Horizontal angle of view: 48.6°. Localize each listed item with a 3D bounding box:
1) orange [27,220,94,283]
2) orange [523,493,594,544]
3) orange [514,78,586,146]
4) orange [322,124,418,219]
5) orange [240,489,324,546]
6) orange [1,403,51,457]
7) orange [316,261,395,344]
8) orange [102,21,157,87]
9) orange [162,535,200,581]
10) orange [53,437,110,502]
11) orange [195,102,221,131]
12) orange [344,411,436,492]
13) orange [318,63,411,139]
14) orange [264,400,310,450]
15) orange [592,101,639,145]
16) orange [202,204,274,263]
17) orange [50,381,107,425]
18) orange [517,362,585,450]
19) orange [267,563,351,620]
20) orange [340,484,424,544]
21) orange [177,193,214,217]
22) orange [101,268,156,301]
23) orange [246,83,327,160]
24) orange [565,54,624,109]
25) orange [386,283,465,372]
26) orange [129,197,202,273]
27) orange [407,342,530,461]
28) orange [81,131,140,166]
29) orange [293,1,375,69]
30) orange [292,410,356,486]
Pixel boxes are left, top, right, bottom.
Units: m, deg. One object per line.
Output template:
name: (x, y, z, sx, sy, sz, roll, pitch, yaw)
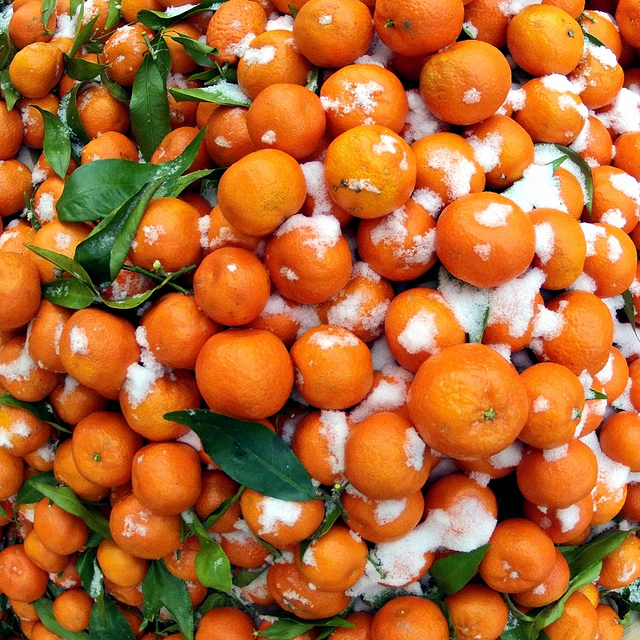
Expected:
orange: (-0.481, -0.144, 1.303, 0.108, 0.112, 0.131, 0, 56, -19)
orange: (0.437, 0.362, 1.327, 0.100, 0.099, 0.098, -6, 40, -10)
orange: (0.446, -0.432, 1.359, 0.126, 0.151, 0.132, 8, 54, 25)
orange: (0.081, -0.248, 1.221, 0.152, 0.146, 0.147, 10, 98, 35)
orange: (-0.069, 0.342, 1.205, 0.146, 0.061, 0.086, 9, 84, 1)
orange: (-0.591, 0.220, 1.397, 0.092, 0.057, 0.096, 10, 84, 1)
orange: (0.070, -0.031, 1.310, 0.134, 0.132, 0.141, -1, 92, 9)
orange: (-0.414, -0.554, 1.475, 0.090, 0.091, 0.108, 8, 121, 22)
orange: (-0.252, 0.445, 1.304, 0.078, 0.042, 0.083, -8, 112, -10)
orange: (-0.452, 0.302, 1.403, 0.119, 0.120, 0.124, 8, 72, -31)
orange: (-0.225, -0.399, 1.388, 0.051, 0.052, 0.064, 4, 104, 0)
orange: (0.104, 0.230, 1.191, 0.130, 0.132, 0.156, -5, 101, -7)
orange: (0.077, -0.370, 1.300, 0.147, 0.144, 0.145, -7, 44, -6)
orange: (-0.058, 0.193, 1.270, 0.067, 0.047, 0.084, 3, 71, -6)
orange: (0.612, -0.420, 1.501, 0.074, 0.073, 0.090, -11, 107, -37)
orange: (-0.155, -0.148, 1.270, 0.094, 0.092, 0.098, 3, 74, 0)
orange: (-0.462, 0.157, 1.360, 0.083, 0.083, 0.083, 2, 97, 3)
orange: (0.378, 0.147, 1.245, 0.130, 0.124, 0.137, -12, 82, 32)
orange: (-0.016, 0.477, 1.252, 0.097, 0.093, 0.097, -45, 117, -9)
orange: (0.107, 0.332, 1.194, 0.115, 0.112, 0.116, 5, 91, -1)
orange: (-0.233, -0.223, 1.352, 0.055, 0.056, 0.069, -4, 95, 1)
orange: (-0.344, -0.063, 1.266, 0.057, 0.075, 0.044, 12, 117, 41)
orange: (-0.061, -0.353, 1.252, 0.122, 0.129, 0.132, -16, 121, -8)
orange: (0.571, -0.494, 1.445, 0.107, 0.106, 0.109, -19, 121, -6)
orange: (0.168, 0.013, 1.181, 0.123, 0.128, 0.153, -18, 75, 0)
orange: (-0.264, -0.142, 1.296, 0.120, 0.125, 0.149, 5, 71, -8)
orange: (0.229, 0.131, 1.191, 0.182, 0.178, 0.195, 28, 98, 33)
orange: (-0.419, -0.339, 1.401, 0.065, 0.065, 0.067, 25, 45, -17)
orange: (0.025, -0.489, 1.255, 0.120, 0.095, 0.120, 0, 105, -5)
orange: (-0.013, 0.220, 1.211, 0.118, 0.120, 0.149, 3, 94, -4)
